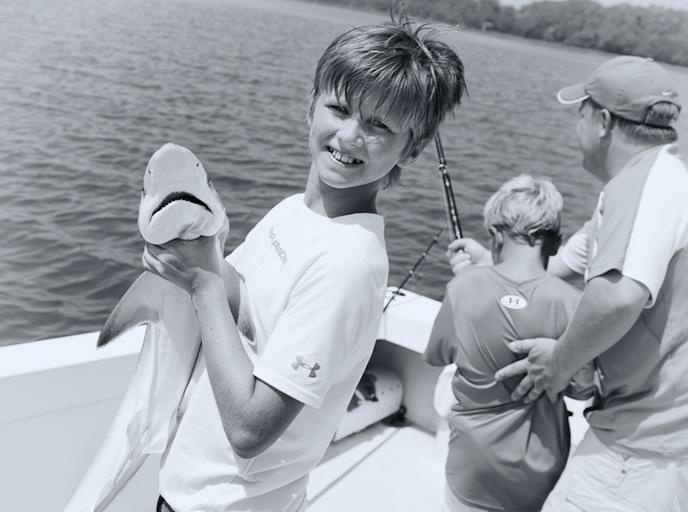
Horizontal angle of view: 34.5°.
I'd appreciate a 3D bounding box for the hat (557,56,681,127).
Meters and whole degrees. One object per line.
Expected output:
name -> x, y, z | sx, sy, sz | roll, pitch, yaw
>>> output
hat -> 1.505, -0.926, 6.086 | 0.535, 0.285, 0.380 | 24, 23, 24
